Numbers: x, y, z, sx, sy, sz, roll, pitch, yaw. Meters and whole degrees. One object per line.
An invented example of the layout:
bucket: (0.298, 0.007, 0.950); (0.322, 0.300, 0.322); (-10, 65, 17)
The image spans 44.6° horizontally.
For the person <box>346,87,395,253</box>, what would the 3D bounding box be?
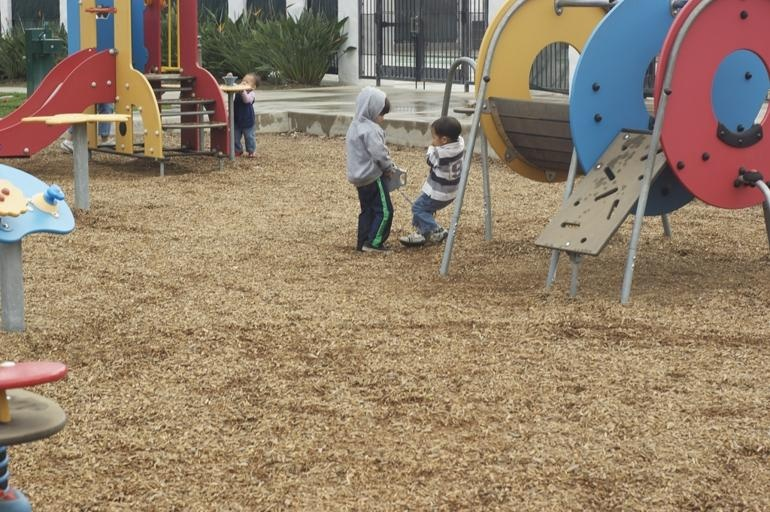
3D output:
person: (-0.119, -0.621, 6.671); (0.357, 1.140, 0.285); (3, 11, 0)

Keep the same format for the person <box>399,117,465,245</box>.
person: (0.331, -0.541, 6.755); (0.413, 0.936, 0.222); (4, 11, 4)

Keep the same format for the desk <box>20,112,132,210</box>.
desk: (-2.611, -0.879, 7.806); (0.810, 0.886, 0.852); (3, 6, 32)

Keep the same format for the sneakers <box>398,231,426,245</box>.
sneakers: (0.184, -0.124, 6.789); (0.186, 0.096, 0.084); (4, 26, -6)

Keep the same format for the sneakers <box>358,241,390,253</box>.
sneakers: (-0.086, -0.065, 6.659); (0.209, 0.103, 0.082); (1, 8, -13)

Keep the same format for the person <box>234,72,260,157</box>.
person: (-1.579, -1.608, 10.545); (0.256, 0.880, 1.429); (1, 13, -8)
